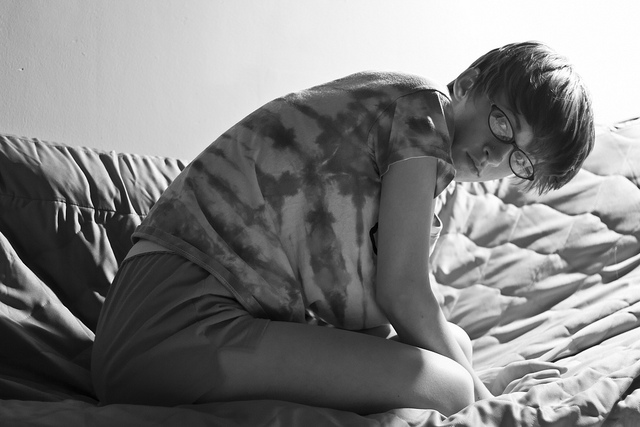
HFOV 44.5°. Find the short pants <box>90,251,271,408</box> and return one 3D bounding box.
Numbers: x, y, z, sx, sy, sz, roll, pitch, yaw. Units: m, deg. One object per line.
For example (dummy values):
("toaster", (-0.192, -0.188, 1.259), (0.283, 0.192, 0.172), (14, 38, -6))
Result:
("short pants", (-0.321, 0.258, 1.776), (0.403, 0.343, 0.109), (-4, -12, 18))

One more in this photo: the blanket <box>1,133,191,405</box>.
("blanket", (-0.610, 0.098, 1.989), (0.630, 0.629, 0.207), (10, -26, -35))
